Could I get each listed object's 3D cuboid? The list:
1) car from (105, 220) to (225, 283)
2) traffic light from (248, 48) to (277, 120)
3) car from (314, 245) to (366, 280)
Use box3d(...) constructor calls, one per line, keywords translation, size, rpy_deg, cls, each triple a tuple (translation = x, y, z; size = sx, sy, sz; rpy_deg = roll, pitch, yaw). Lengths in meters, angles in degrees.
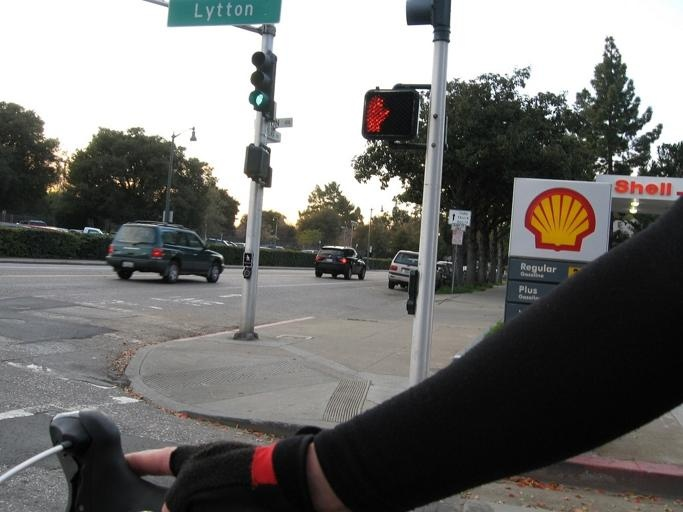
box3d(translation=(-5.911, -0.205, 19.259), size=(1.712, 1.662, 3.613), rpy_deg=(3, 4, 23), cls="car")
box3d(translation=(-1.224, -2.773, 8.955), size=(0.487, 1.105, 0.335), rpy_deg=(5, 0, -25), cls="traffic light")
box3d(translation=(0.118, 0.341, 33.762), size=(1.424, 1.402, 3.338), rpy_deg=(1, 2, 21), cls="car")
